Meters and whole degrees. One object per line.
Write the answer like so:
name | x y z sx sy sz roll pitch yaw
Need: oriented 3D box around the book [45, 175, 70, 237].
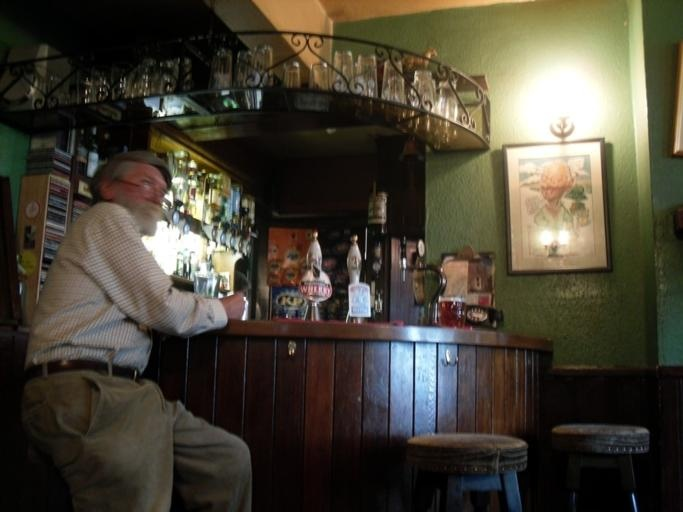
book | -1.953 -0.357 4.253 0.211 0.357 0.098 3 -3 11

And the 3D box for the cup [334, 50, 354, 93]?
cup | 0.010 -1.178 3.916 0.127 0.343 0.232 1 -4 1

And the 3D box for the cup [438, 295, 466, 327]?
cup | 0.731 0.375 4.058 0.174 0.231 0.194 0 2 9

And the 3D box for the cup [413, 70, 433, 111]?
cup | 0.539 -1.090 4.016 0.141 0.342 0.345 0 -4 8

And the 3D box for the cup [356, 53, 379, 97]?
cup | 0.158 -1.140 3.930 0.143 0.323 0.242 0 -4 2

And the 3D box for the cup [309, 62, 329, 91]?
cup | -0.138 -1.136 3.877 0.147 0.184 0.155 -1 7 0

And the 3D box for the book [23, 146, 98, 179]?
book | -1.976 -0.654 4.382 0.229 0.118 0.323 0 -1 21

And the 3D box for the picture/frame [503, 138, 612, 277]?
picture/frame | 1.574 -0.357 4.501 0.685 1.076 0.032 -1 31 24

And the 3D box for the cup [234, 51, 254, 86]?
cup | -0.620 -1.174 3.869 0.096 0.270 0.148 3 -5 -30

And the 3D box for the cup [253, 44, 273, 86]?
cup | -0.501 -1.199 3.861 0.110 0.316 0.154 1 -4 -10

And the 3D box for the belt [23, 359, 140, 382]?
belt | -1.116 0.505 2.681 0.478 0.110 0.200 3 -4 -31

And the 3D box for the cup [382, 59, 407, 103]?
cup | 0.330 -1.117 3.925 0.153 0.327 0.190 0 -4 6

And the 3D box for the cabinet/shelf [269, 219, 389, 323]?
cabinet/shelf | -0.133 0.163 5.447 0.852 0.987 0.309 2 -11 -4
